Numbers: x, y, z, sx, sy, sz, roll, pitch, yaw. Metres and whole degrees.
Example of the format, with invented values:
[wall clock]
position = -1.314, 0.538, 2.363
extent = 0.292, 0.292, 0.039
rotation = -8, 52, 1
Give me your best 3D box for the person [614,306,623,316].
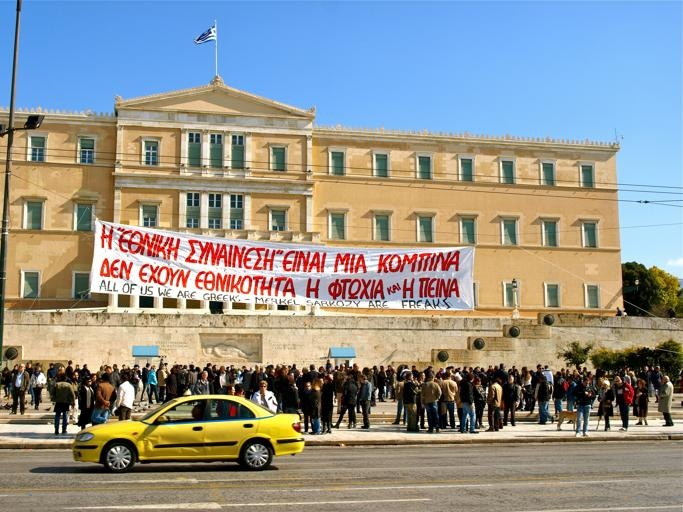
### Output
[person]
position = 18.069, 3.608, 89.745
extent = 0.311, 0.567, 0.950
rotation = -1, -17, 10
